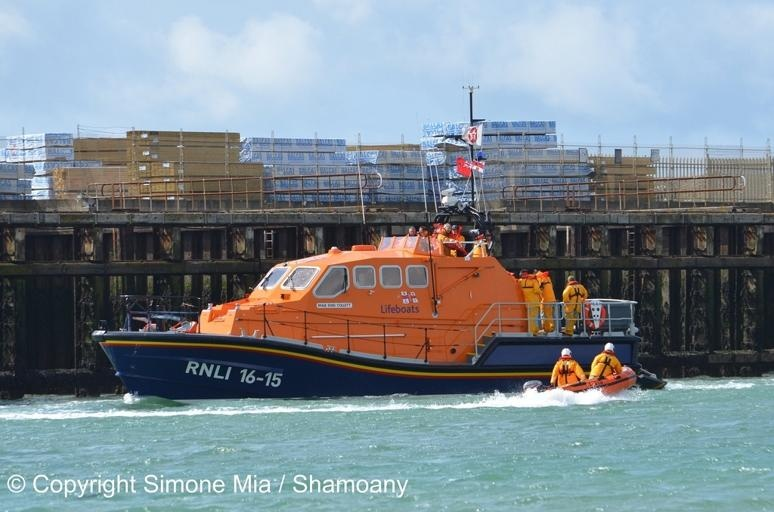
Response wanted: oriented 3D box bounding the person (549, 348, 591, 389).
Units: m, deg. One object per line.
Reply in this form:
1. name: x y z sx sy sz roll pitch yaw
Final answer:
1. person: 4.124 2.539 39.809 0.925 1.439 0.531 0 1 18

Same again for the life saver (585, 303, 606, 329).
1. life saver: 4.819 1.364 40.550 0.535 0.569 0.170 -6 -2 -7

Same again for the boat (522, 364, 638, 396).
1. boat: 4.378 2.881 39.813 2.759 0.691 0.856 -5 1 -20

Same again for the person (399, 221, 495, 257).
1. person: 1.602 -0.408 40.661 1.379 0.649 1.002 0 4 -7

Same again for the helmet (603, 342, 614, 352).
1. helmet: 5.056 2.073 39.949 0.174 0.221 0.182 1 32 16

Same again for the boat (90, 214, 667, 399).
1. boat: -0.166 1.348 41.131 13.144 4.409 4.430 2 -4 -25
